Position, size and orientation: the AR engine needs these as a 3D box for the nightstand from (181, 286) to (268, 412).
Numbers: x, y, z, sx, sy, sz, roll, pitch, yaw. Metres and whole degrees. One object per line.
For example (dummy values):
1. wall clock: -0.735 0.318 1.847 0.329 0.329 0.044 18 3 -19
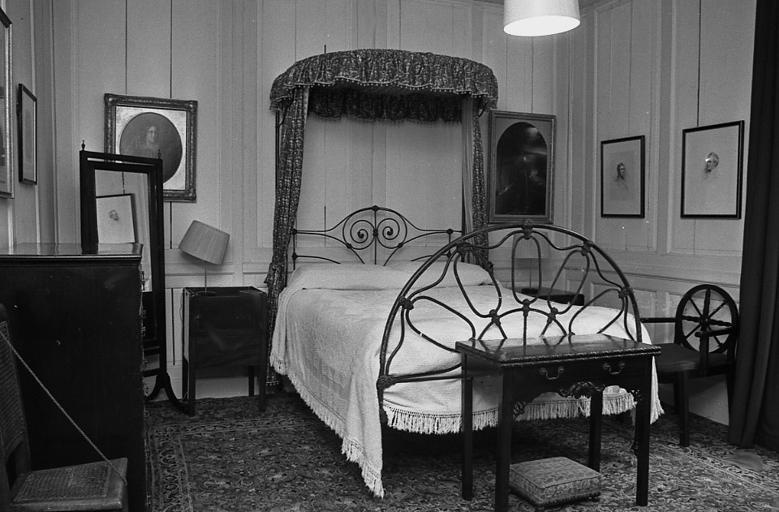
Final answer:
1. nightstand: -1.523 0.880 6.558 0.986 1.450 0.979 0 4 -18

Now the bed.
1. bed: 0.203 0.586 5.854 2.122 1.777 2.944 -1 0 -22

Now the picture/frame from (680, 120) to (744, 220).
1. picture/frame: 2.901 -0.759 6.169 0.150 0.880 0.664 -6 13 -27

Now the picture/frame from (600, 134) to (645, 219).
1. picture/frame: 2.383 -0.802 7.027 0.122 0.848 0.688 -4 13 -22

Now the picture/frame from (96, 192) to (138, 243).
1. picture/frame: -2.408 -0.332 6.039 0.405 0.571 0.056 -3 3 -23
